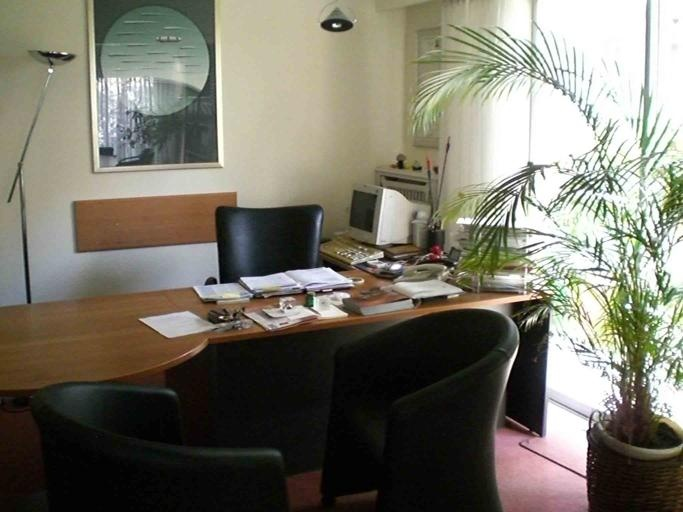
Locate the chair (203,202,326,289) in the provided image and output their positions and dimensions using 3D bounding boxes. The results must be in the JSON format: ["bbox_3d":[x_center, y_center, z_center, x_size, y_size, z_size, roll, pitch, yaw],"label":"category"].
[{"bbox_3d":[-0.551,-0.094,3.795,0.560,0.761,0.633,0,8,-11],"label":"chair"}]

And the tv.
[{"bbox_3d":[0.365,-0.329,4.081,0.505,0.374,0.515,-4,11,-20],"label":"tv"}]

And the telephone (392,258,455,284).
[{"bbox_3d":[0.496,0.093,3.099,0.242,0.070,0.181,-5,14,-13],"label":"telephone"}]

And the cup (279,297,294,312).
[{"bbox_3d":[-0.282,0.253,2.792,0.054,0.060,0.063,5,8,32],"label":"cup"}]
